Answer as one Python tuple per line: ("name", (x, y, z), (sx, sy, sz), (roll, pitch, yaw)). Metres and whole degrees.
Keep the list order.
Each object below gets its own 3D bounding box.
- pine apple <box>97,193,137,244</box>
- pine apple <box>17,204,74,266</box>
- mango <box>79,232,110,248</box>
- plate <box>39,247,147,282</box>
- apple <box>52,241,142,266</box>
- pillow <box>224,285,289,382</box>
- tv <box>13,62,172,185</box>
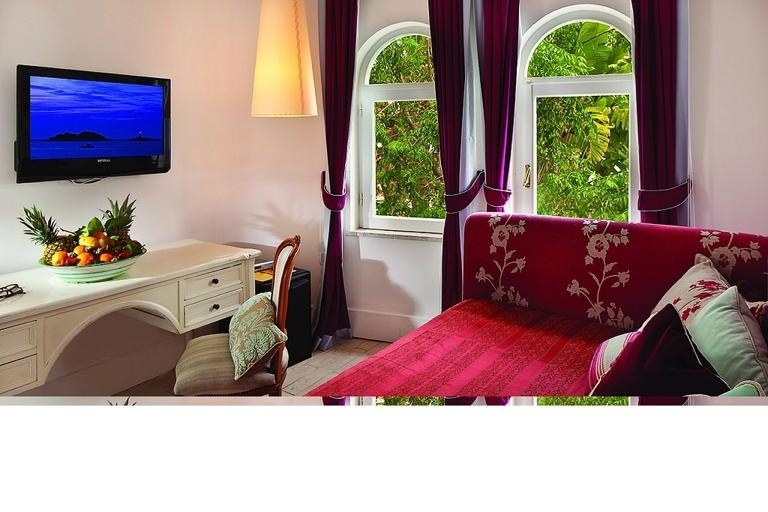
("pine apple", (-1.368, -0.188, 2.697), (0.173, 0.236, 0.134), (-13, -13, 28))
("pine apple", (-1.603, -0.091, 2.513), (0.176, 0.291, 0.181), (-18, 29, 3))
("mango", (-1.376, -0.077, 2.480), (0.094, 0.044, 0.078), (12, 32, -9))
("plate", (-1.422, 0.014, 2.604), (0.416, 0.119, 0.371), (9, 10, 24))
("apple", (-1.370, -0.020, 2.484), (0.239, 0.103, 0.342), (9, 9, 28))
("pillow", (-0.591, 0.353, 2.410), (0.253, 0.337, 0.305), (-1, 12, -13))
("tv", (-1.619, -0.729, 2.845), (0.966, 0.712, 0.091), (-7, 10, -44))
